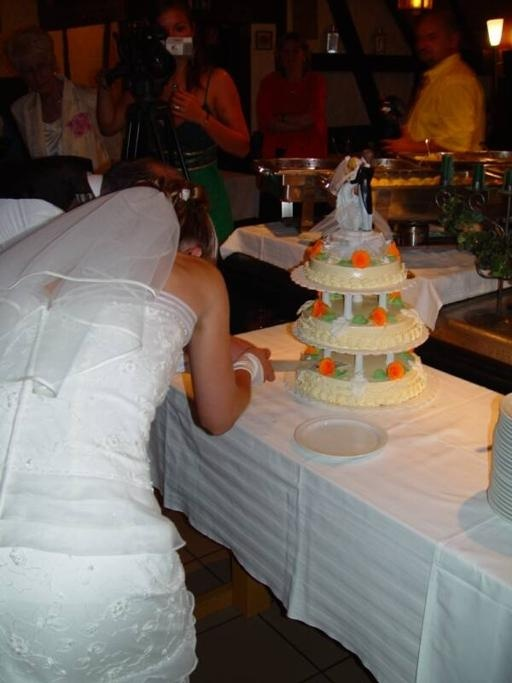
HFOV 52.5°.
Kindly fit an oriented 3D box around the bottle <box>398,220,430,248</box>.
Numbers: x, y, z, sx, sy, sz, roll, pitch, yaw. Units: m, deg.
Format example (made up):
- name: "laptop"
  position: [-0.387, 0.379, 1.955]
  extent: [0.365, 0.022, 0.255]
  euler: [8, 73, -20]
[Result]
- name: "bottle"
  position: [0.887, -0.606, 2.924]
  extent: [0.162, 0.138, 0.154]
  euler: [-3, 13, -2]
